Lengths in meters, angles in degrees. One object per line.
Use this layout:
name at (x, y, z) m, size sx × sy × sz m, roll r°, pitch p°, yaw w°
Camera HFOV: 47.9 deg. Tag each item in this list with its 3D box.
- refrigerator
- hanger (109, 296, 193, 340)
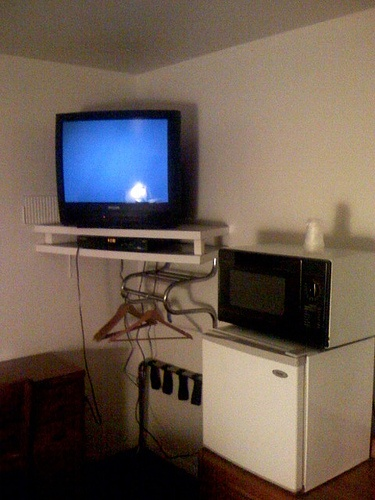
refrigerator at (0.304, 0.433, 1.309) m, size 0.374 × 0.423 × 0.401 m, roll -21°, pitch -14°, yaw 37°
hanger at (-0.153, 0.320, 1.927) m, size 0.235 × 0.109 × 0.257 m, roll 2°, pitch 11°, yaw 24°
